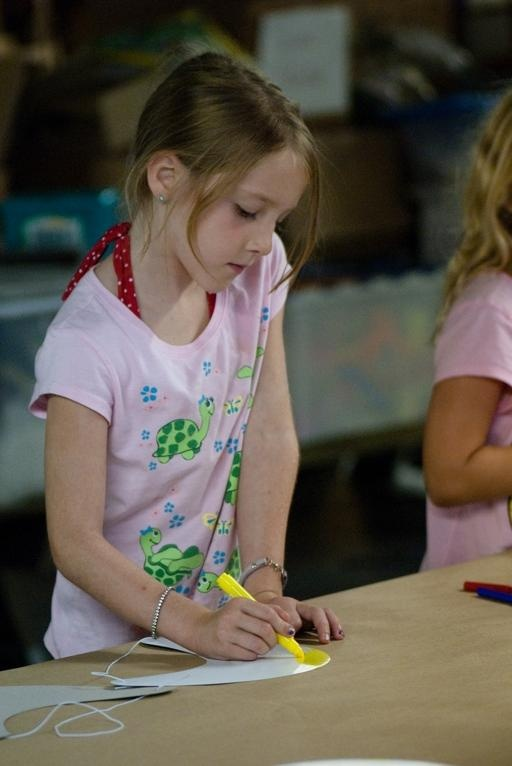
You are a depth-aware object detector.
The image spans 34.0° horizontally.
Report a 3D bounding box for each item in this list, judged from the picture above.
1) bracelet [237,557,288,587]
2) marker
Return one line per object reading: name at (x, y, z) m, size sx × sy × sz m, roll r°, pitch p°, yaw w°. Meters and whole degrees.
bracelet at (0.006, 0.191, 0.843) m, size 0.041 × 0.029 × 0.013 m, roll -9°, pitch 26°, yaw 17°
marker at (0.002, 0.187, 0.717) m, size 0.087 × 0.050 × 0.082 m, roll -6°, pitch 12°, yaw -44°
